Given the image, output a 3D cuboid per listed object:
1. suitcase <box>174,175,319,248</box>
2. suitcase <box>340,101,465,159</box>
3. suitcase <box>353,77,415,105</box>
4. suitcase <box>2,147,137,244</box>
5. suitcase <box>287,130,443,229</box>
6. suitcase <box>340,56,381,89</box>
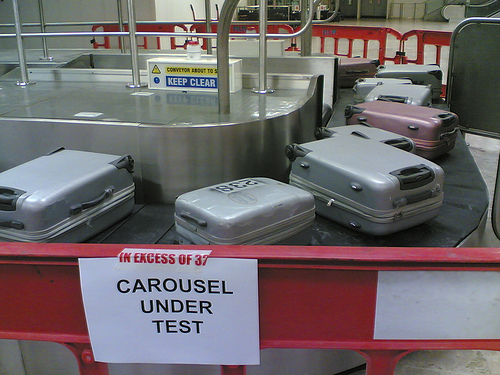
[{"bbox_3d":[0.006,0.086,1.778,0.446,0.127,0.316,-8,13,-38],"label":"suitcase"},{"bbox_3d":[0.864,-0.354,2.662,0.588,0.191,0.425,20,31,38],"label":"suitcase"},{"bbox_3d":[1.100,-0.754,3.451,0.600,0.141,0.262,0,17,6],"label":"suitcase"},{"bbox_3d":[-0.796,0.009,1.930,0.423,0.192,0.491,9,16,23],"label":"suitcase"},{"bbox_3d":[0.533,-0.018,2.056,0.458,0.168,0.601,-19,26,-34],"label":"suitcase"},{"bbox_3d":[1.082,-1.279,5.086,0.572,0.177,0.653,-8,5,-5],"label":"suitcase"}]
